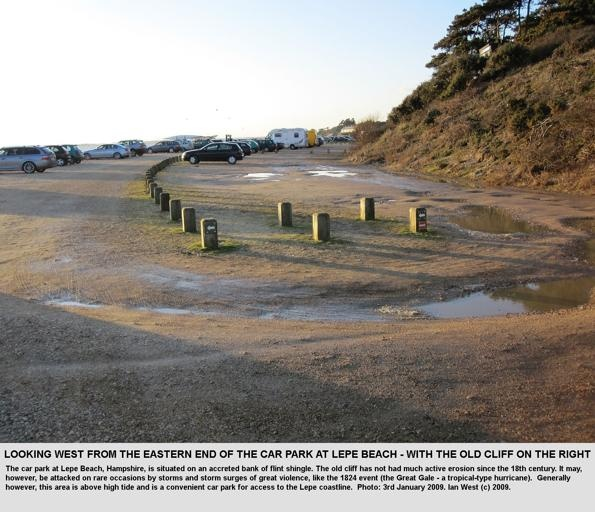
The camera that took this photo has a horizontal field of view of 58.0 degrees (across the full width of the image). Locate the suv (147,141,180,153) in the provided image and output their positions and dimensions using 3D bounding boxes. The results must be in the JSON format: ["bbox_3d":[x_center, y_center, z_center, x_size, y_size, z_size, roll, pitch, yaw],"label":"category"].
[{"bbox_3d":[-16.836,-13.794,68.085,5.030,1.454,1.507,9,16,33],"label":"suv"}]

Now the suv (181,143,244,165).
[{"bbox_3d":[-6.701,-8.247,43.064,4.413,1.672,1.260,0,14,-1],"label":"suv"}]

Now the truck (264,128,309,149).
[{"bbox_3d":[-0.926,-15.570,71.345,5.233,2.364,1.301,-11,18,-41],"label":"truck"}]

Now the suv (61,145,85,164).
[{"bbox_3d":[-17.665,-7.891,41.270,2.382,0.978,1.307,11,15,25],"label":"suv"}]

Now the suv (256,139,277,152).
[{"bbox_3d":[-3.666,-13.308,64.960,2.652,1.374,1.252,11,18,40],"label":"suv"}]
